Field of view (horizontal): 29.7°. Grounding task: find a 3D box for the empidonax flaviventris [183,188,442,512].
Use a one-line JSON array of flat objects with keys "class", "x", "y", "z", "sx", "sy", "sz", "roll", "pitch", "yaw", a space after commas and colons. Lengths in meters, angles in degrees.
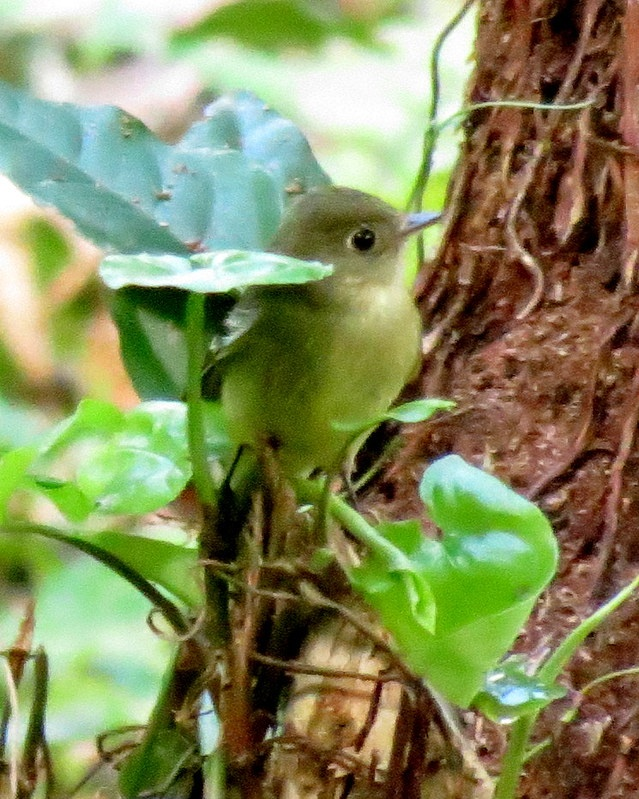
[{"class": "empidonax flaviventris", "x": 0.004, "y": -0.037, "z": 0.750, "sx": 0.151, "sy": 0.172, "sz": 0.208, "roll": 8, "pitch": 7, "yaw": -23}]
